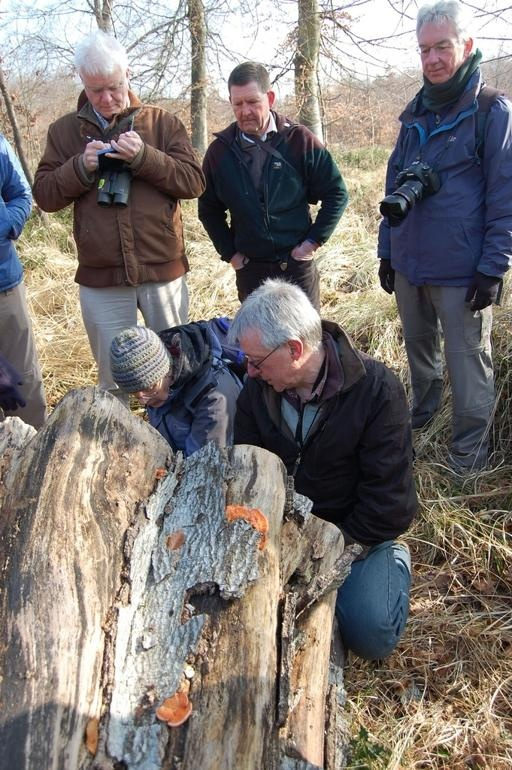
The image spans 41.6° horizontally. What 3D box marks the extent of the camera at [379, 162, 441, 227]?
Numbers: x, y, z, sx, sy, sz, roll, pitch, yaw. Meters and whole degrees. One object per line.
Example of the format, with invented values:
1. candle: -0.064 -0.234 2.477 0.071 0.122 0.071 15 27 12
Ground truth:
1. camera: 0.743 -0.926 3.345 0.221 0.292 0.324 14 32 34

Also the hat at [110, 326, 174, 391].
1. hat: -0.480 -0.102 2.769 0.238 0.226 0.257 -2 52 27

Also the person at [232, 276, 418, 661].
1. person: 0.248 0.347 2.719 0.769 1.406 0.621 6 28 21

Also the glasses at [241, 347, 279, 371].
1. glasses: 0.017 -0.080 2.573 0.102 0.031 0.095 -43 19 -18

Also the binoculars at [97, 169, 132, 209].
1. binoculars: -0.714 -0.977 3.384 0.158 0.181 0.186 -5 26 0

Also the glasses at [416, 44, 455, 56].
1. glasses: 0.855 -1.630 3.308 0.085 0.038 0.196 -17 28 -23

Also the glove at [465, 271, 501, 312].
1. glove: 1.124 -0.438 3.331 0.138 0.193 0.185 -1 29 5

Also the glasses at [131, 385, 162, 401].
1. glasses: -0.468 0.045 2.910 0.074 0.021 0.078 -8 44 38
